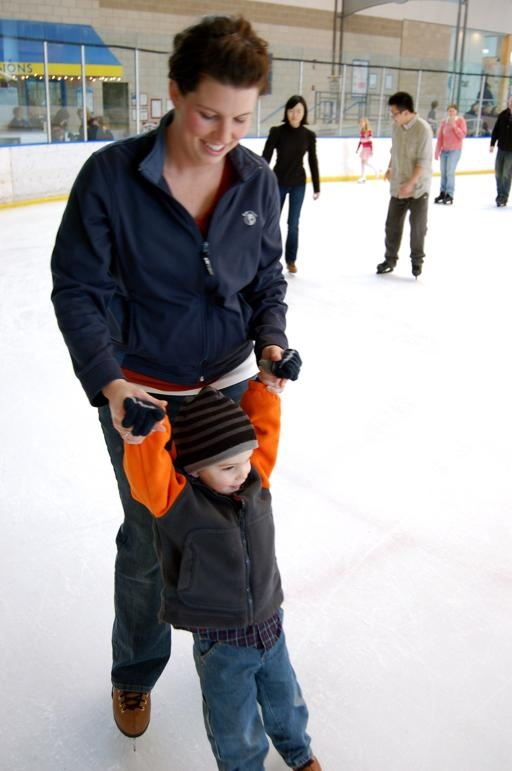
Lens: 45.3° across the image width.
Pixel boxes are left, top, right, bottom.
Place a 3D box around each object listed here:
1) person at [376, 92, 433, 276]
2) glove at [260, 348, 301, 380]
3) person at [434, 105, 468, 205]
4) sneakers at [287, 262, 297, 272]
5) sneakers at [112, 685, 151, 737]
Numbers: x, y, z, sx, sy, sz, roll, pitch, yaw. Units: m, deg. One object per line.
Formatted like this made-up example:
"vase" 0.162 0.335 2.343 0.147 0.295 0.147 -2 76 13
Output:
"person" 1.391 -1.819 5.683 0.460 1.599 0.456 8 16 16
"glove" 0.038 -0.037 1.085 0.060 0.029 0.053 31 17 8
"person" 3.219 -3.863 10.311 0.432 1.590 1.124 7 16 15
"sneakers" 0.333 -1.133 5.873 0.097 0.110 0.262 -1 10 -2
"sneakers" -0.263 0.697 1.299 0.042 0.050 0.127 -1 15 -17
